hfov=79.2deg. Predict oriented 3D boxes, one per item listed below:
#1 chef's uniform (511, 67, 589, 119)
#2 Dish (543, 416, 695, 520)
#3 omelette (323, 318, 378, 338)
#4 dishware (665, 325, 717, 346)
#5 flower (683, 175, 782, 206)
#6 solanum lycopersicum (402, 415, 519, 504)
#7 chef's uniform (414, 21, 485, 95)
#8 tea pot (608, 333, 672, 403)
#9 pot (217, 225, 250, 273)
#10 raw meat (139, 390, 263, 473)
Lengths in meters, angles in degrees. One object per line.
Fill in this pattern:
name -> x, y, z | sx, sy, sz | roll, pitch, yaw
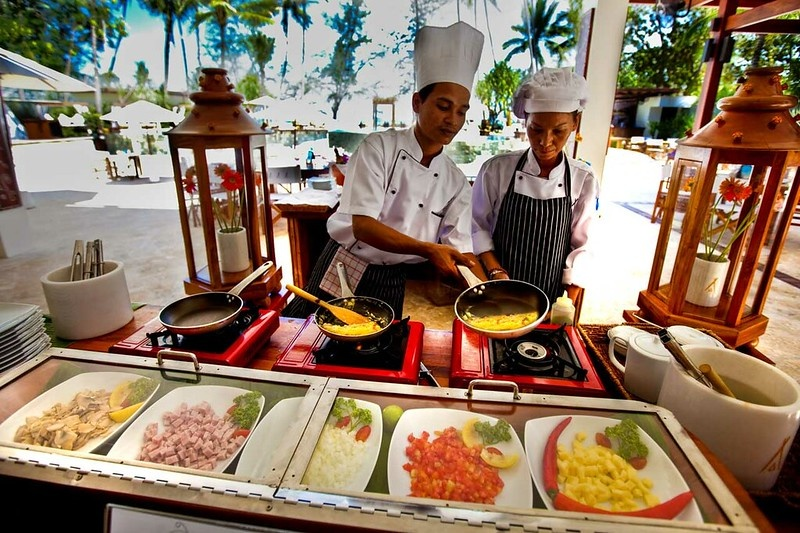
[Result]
chef's uniform -> 0.914, -1.074, 3.022 | 0.458, 0.317, 0.394 | 12, 25, 25
Dish -> 0.786, 0.747, 1.759 | 0.520, 0.185, 0.320 | 6, 23, 11
omelette -> -0.225, 0.294, 2.268 | 0.267, 0.040, 0.185 | -1, 22, -5
dishware -> 1.357, 0.331, 2.261 | 0.196, 0.033, 0.132 | 4, 31, -28
flower -> 1.845, -0.396, 2.702 | 0.407, 0.173, 0.198 | 0, 3, -6
solanum lycopersicum -> 0.223, 0.653, 1.714 | 0.291, 0.067, 0.271 | 1, 39, 0
chef's uniform -> 0.274, -1.224, 2.817 | 0.405, 0.372, 0.356 | 3, 23, 5
tea pot -> 1.072, 0.445, 2.210 | 0.186, 0.238, 0.289 | -18, 23, -39
pot -> -1.140, -0.124, 3.366 | 0.261, 0.303, 0.287 | 1, 23, -1
raw meat -> -0.766, 0.584, 1.809 | 0.289, 0.064, 0.277 | 4, 37, 2
